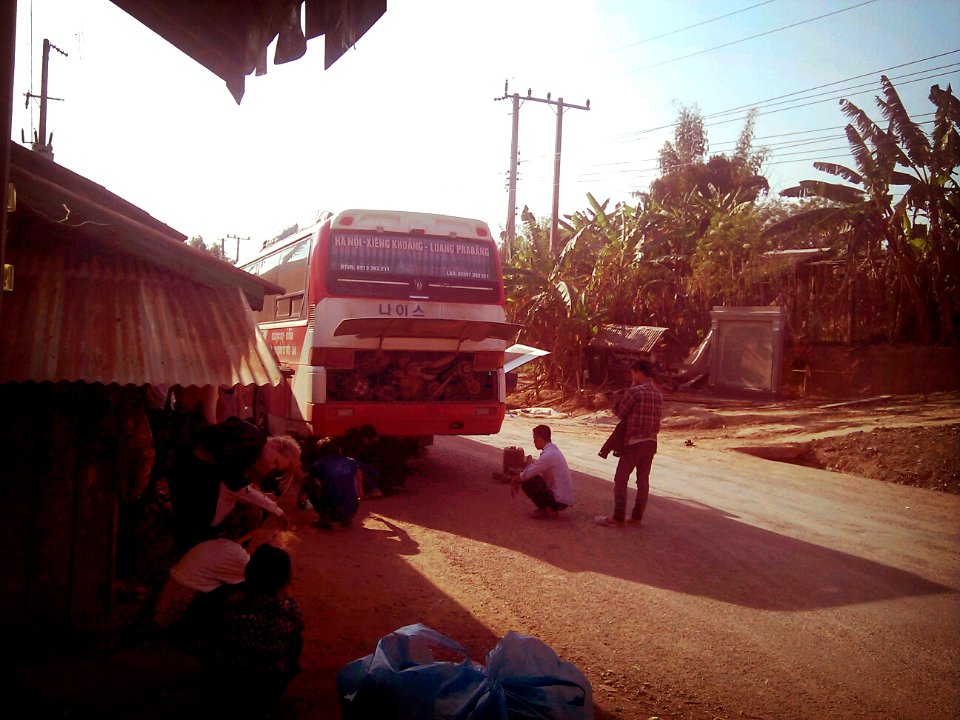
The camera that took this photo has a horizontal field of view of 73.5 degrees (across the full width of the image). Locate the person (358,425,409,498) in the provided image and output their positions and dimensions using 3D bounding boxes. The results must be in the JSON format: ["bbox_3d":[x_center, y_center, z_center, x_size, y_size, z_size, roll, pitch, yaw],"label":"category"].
[{"bbox_3d":[-1.426,1.571,10.460,0.706,0.977,0.237,-21,-6,-39],"label":"person"}]

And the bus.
[{"bbox_3d":[-2.131,-0.528,11.564,2.100,2.804,5.714,1,-1,-23],"label":"bus"}]

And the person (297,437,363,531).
[{"bbox_3d":[-1.848,1.538,8.083,0.708,1.125,0.748,-5,-5,25],"label":"person"}]

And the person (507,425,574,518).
[{"bbox_3d":[0.744,1.506,8.897,1.016,1.609,1.013,0,-4,16],"label":"person"}]

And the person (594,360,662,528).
[{"bbox_3d":[2.037,1.106,8.608,0.794,1.558,0.737,-3,-2,17],"label":"person"}]
